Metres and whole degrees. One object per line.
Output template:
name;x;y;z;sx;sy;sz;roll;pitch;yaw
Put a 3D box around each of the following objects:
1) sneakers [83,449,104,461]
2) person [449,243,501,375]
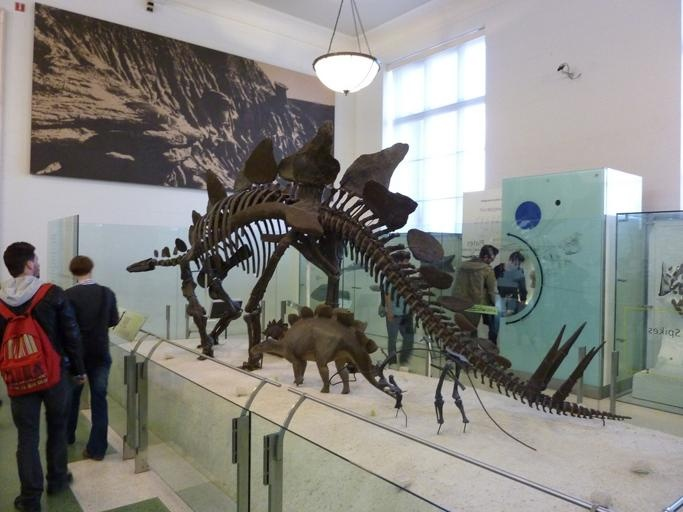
sneakers;-2.238;1.804;4.939;0.188;0.089;0.083;0;-1;30
person;1.430;0.355;5.891;0.481;0.972;0.335;2;6;17
